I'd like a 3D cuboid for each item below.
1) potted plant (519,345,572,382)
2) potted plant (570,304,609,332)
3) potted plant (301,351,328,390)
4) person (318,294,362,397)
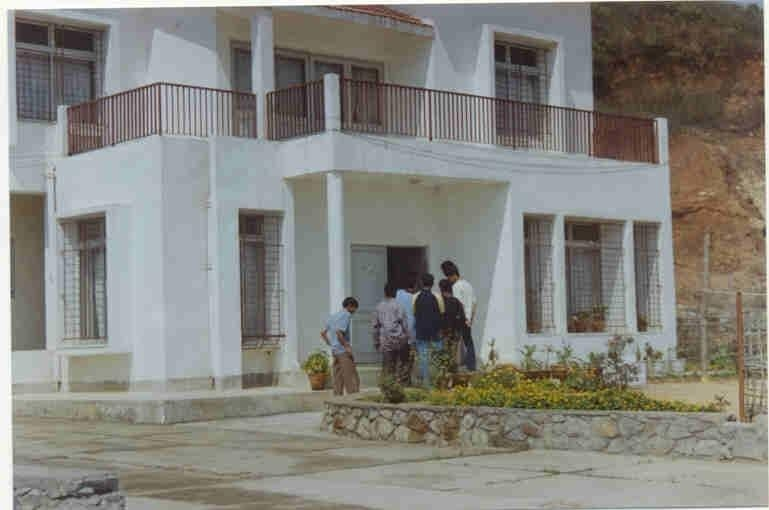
[{"bbox_3d":[3.373,2.235,27.372,1.202,0.715,0.599,0,-4,-2],"label":"potted plant"},{"bbox_3d":[4.424,1.362,28.409,0.616,0.423,0.605,2,-2,-31],"label":"potted plant"},{"bbox_3d":[-1.364,2.316,26.327,0.616,0.817,0.643,0,-12,-4],"label":"potted plant"},{"bbox_3d":[-0.805,1.742,24.976,0.557,1.821,0.998,-1,-7,-12],"label":"person"}]
